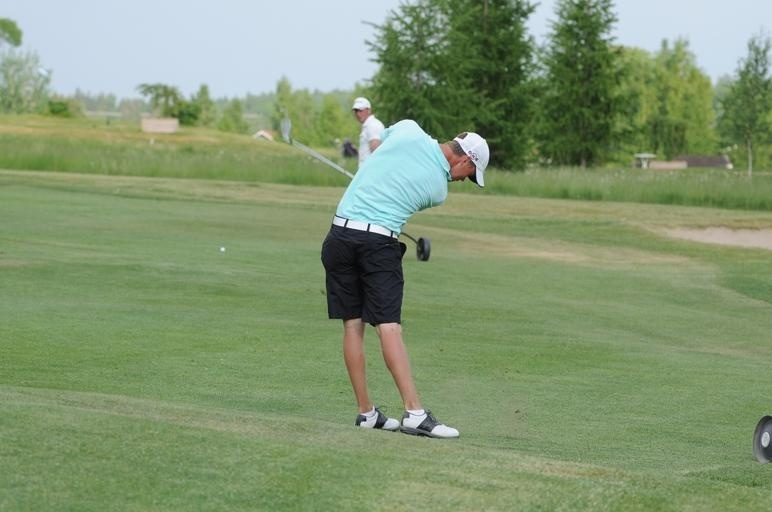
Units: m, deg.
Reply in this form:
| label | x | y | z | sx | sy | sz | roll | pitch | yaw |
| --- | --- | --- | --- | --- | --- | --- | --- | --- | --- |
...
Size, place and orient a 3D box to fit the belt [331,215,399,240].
| label | x | y | z | sx | sy | sz | roll | pitch | yaw |
| --- | --- | --- | --- | --- | --- | --- | --- | --- | --- |
| belt | -0.206 | -0.243 | 10.071 | 0.283 | 0.059 | 0.281 | 16 | 2 | 31 |

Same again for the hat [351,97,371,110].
| label | x | y | z | sx | sy | sz | roll | pitch | yaw |
| --- | --- | --- | --- | --- | --- | --- | --- | --- | --- |
| hat | -0.279 | -1.761 | 14.347 | 0.180 | 0.125 | 0.255 | 1 | 4 | 12 |

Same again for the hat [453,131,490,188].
| label | x | y | z | sx | sy | sz | roll | pitch | yaw |
| --- | --- | --- | --- | --- | --- | --- | --- | --- | --- |
| hat | 0.718 | -0.766 | 10.369 | 0.409 | 0.509 | 0.207 | -7 | 25 | -12 |

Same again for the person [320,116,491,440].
| label | x | y | z | sx | sy | sz | roll | pitch | yaw |
| --- | --- | --- | --- | --- | --- | --- | --- | --- | --- |
| person | 0.194 | 0.133 | 10.553 | 1.311 | 2.621 | 1.102 | 1 | 2 | 12 |
